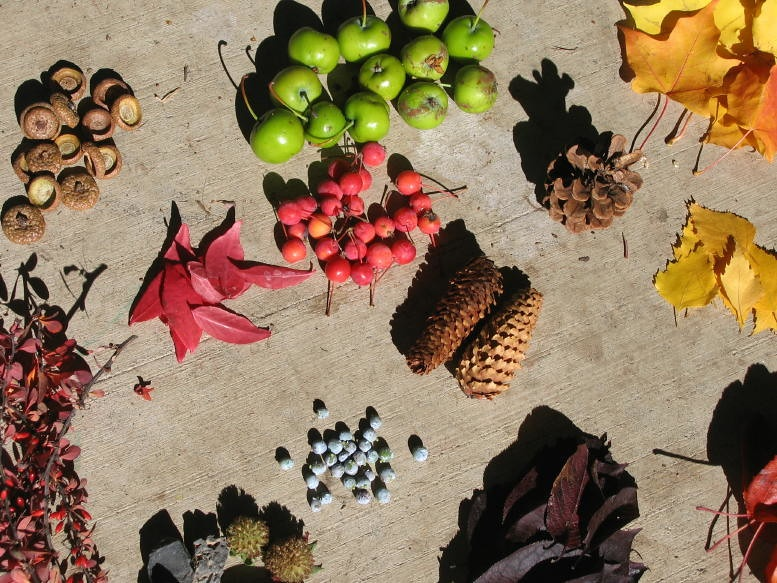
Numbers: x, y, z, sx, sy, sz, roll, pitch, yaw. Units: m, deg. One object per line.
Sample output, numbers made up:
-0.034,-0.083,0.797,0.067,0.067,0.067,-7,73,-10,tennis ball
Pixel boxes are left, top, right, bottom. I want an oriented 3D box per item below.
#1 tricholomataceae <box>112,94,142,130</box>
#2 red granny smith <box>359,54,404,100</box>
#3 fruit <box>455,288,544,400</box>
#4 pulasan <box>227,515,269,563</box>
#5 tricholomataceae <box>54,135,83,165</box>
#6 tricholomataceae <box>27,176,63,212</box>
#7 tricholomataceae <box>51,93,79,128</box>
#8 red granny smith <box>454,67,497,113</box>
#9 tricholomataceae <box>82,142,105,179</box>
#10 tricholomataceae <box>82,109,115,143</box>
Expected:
-1.315,-0.898,6.409,0.151,0.168,0.065,-10,12,-30,tricholomataceae
-0.029,-1.059,6.272,0.195,0.212,0.212,-16,48,19,red granny smith
0.543,0.277,6.340,0.273,0.645,0.302,27,-9,11,fruit
-0.699,1.194,6.291,0.181,0.233,0.121,1,-1,-7,pulasan
-1.608,-0.719,6.421,0.136,0.152,0.061,16,0,-9,tricholomataceae
-1.729,-0.489,6.434,0.156,0.175,0.067,15,0,-5,tricholomataceae
-1.615,-0.912,6.390,0.044,0.158,0.139,-20,10,27,tricholomataceae
0.424,-0.988,6.296,0.200,0.223,0.208,0,6,3,red granny smith
-1.482,-0.653,6.397,0.098,0.181,0.061,-14,20,2,tricholomataceae
-1.463,-0.830,6.412,0.142,0.163,0.073,4,7,-7,tricholomataceae
